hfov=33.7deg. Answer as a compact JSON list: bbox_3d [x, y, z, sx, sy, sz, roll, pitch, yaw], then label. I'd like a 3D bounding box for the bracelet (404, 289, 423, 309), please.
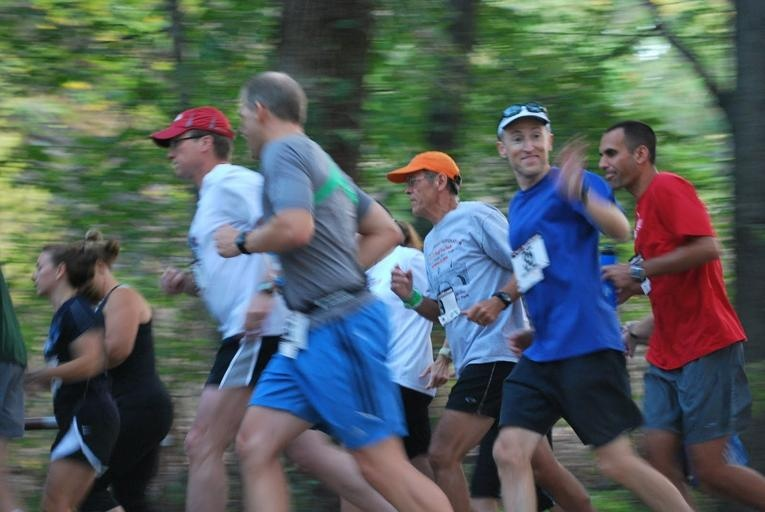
[{"bbox_3d":[0.256,0.337,9.903,0.148,0.133,0.115,-22,-47,39],"label":"bracelet"}]

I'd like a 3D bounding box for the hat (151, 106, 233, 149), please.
[{"bbox_3d":[-1.486,-1.013,9.900,0.553,0.224,0.319,-4,-5,-6],"label":"hat"}]

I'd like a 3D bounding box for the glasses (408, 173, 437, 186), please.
[{"bbox_3d":[0.334,-0.618,10.166,0.168,0.063,0.114,8,-5,4],"label":"glasses"}]
